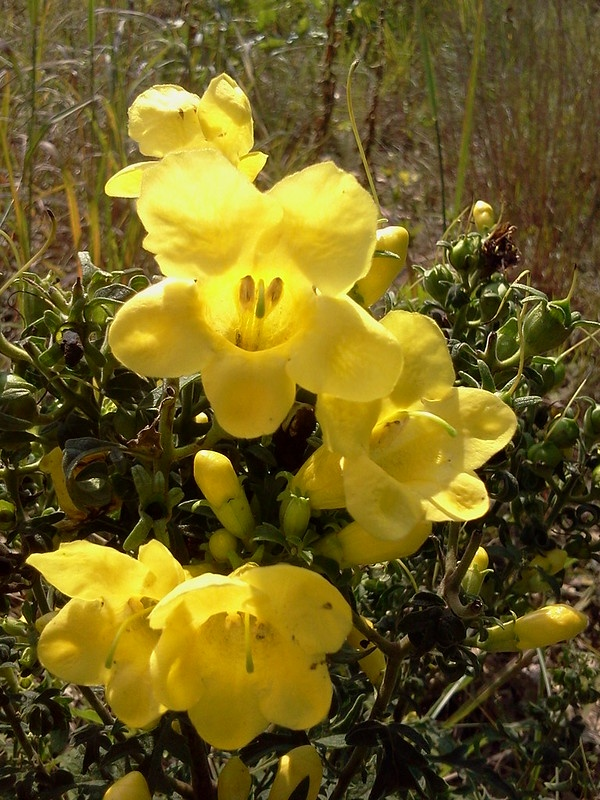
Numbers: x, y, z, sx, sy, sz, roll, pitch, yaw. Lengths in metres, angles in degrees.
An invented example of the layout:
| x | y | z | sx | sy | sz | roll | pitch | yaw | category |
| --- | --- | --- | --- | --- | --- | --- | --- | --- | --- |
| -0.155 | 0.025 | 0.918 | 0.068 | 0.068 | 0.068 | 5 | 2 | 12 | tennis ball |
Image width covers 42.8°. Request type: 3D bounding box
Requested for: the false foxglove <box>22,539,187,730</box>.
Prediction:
| x | y | z | sx | sy | sz | roll | pitch | yaw | category |
| --- | --- | --- | --- | --- | --- | --- | --- | --- | --- |
| -0.145 | 0.218 | 0.711 | 0.224 | 0.083 | 0.150 | 12 | 52 | -35 | false foxglove |

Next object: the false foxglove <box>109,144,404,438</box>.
| x | y | z | sx | sy | sz | roll | pitch | yaw | category |
| --- | --- | --- | --- | --- | --- | --- | --- | --- | --- |
| -0.049 | -0.095 | 0.644 | 0.217 | 0.218 | 0.190 | -8 | 23 | -29 | false foxglove |

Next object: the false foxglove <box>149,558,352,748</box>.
| x | y | z | sx | sy | sz | roll | pitch | yaw | category |
| --- | --- | --- | --- | --- | --- | --- | --- | --- | --- |
| -0.060 | 0.209 | 0.668 | 0.149 | 0.187 | 0.141 | -7 | 23 | -26 | false foxglove |
